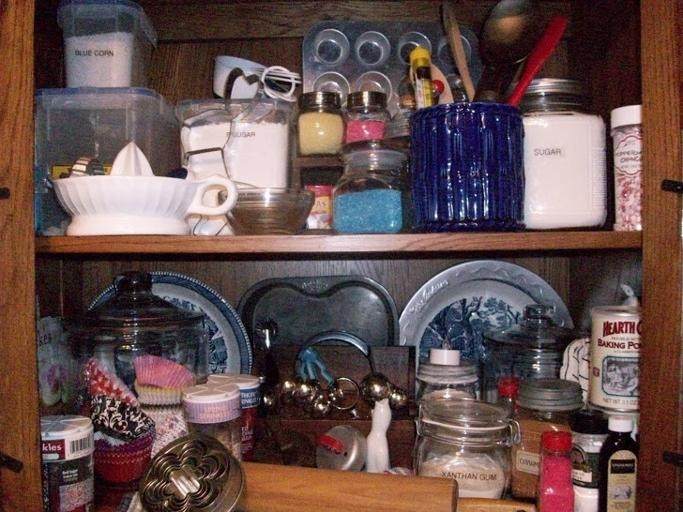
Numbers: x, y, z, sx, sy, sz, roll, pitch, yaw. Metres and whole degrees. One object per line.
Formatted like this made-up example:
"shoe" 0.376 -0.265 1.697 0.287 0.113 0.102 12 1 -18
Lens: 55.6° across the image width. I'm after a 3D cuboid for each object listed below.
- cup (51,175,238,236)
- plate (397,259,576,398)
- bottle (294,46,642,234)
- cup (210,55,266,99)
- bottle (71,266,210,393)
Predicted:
"cup" -0.357 -0.078 1.154 0.313 0.096 0.234 -2 -1 -27
"plate" 0.269 0.112 1.271 0.289 0.251 0.060 1 10 2
"bottle" 0.250 -0.173 1.094 0.365 0.304 0.229 -3 0 -1
"cup" -0.212 -0.360 1.322 0.147 0.092 0.078 8 16 34
"bottle" -0.382 0.129 1.252 0.235 0.178 0.233 1 0 0
